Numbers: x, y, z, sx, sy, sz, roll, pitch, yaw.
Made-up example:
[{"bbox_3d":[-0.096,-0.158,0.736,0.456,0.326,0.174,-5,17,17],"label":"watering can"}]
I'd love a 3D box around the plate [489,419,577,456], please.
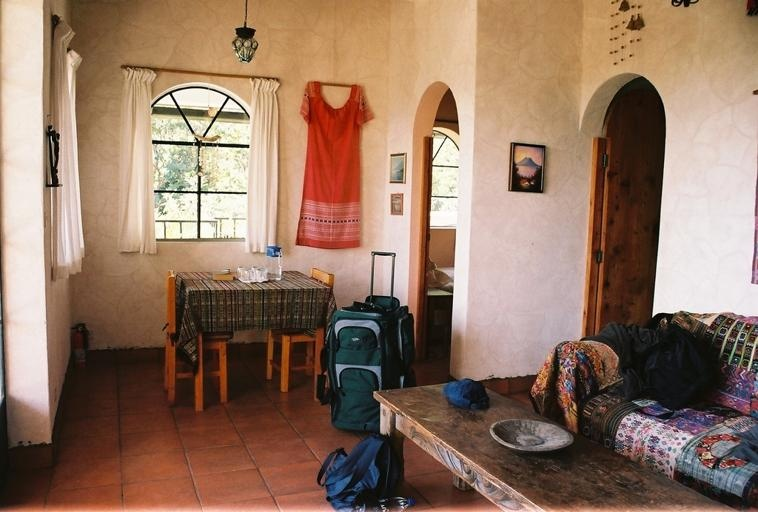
[{"bbox_3d":[0.859,1.033,3.224,0.429,0.086,0.441,1,3,26],"label":"plate"}]

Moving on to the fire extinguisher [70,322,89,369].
[{"bbox_3d":[-2.963,0.872,5.575,0.151,0.417,0.128,5,13,13],"label":"fire extinguisher"}]

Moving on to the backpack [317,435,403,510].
[{"bbox_3d":[-0.095,1.439,3.832,0.533,0.497,0.384,-5,-10,4],"label":"backpack"}]

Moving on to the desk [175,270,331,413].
[{"bbox_3d":[-1.208,0.538,4.955,1.411,0.965,1.168,0,2,-21],"label":"desk"}]

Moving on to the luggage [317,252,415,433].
[{"bbox_3d":[-0.107,0.696,4.603,0.703,1.372,0.745,-6,15,-31],"label":"luggage"}]

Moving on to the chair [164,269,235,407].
[{"bbox_3d":[-1.656,0.687,5.109,0.595,1.170,0.953,-3,14,-20],"label":"chair"}]

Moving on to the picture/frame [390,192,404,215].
[{"bbox_3d":[0.201,-0.573,6.166,0.021,0.246,0.253,0,4,-28],"label":"picture/frame"}]

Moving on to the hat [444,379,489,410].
[{"bbox_3d":[0.546,0.893,3.685,0.181,0.080,0.220,-5,6,-32],"label":"hat"}]

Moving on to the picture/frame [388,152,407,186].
[{"bbox_3d":[0.203,-0.947,6.142,0.029,0.390,0.386,0,4,-30],"label":"picture/frame"}]

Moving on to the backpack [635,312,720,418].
[{"bbox_3d":[2.214,0.764,4.108,0.723,0.555,0.279,-36,41,-11],"label":"backpack"}]
